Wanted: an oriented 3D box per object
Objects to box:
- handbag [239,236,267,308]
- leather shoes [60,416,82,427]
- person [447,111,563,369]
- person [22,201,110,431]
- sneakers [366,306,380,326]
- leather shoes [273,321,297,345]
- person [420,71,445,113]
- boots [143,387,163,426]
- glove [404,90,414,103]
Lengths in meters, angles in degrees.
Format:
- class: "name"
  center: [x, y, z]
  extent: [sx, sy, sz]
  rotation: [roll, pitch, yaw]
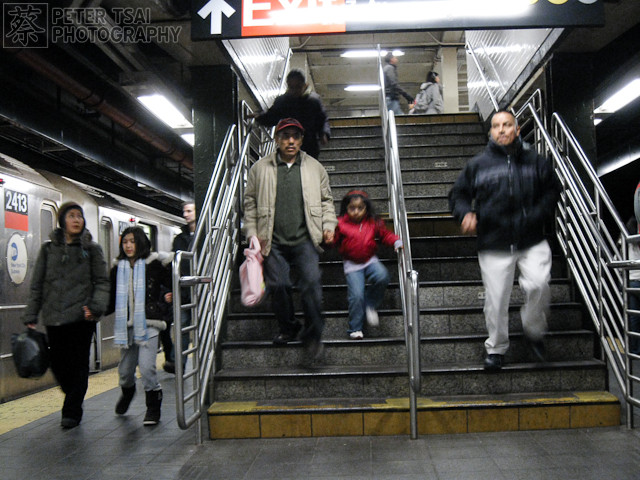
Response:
- class: "handbag"
  center: [-0.644, 0.292, 5.259]
  extent: [0.211, 0.649, 0.176]
  rotation: [-4, -8, 24]
- class: "leather shoes"
  center: [-2.460, 1.804, 5.500]
  extent: [0.175, 0.105, 0.142]
  rotation: [3, -7, -30]
- class: "person"
  center: [1.702, -0.001, 5.084]
  extent: [0.949, 2.350, 0.364]
  rotation: [-2, -7, 5]
- class: "person"
  center: [-2.558, 0.733, 5.635]
  extent: [0.778, 2.267, 0.301]
  rotation: [2, -7, -21]
- class: "sneakers"
  center: [0.509, 0.756, 5.554]
  extent: [0.111, 0.202, 0.073]
  rotation: [-11, -4, 10]
- class: "leather shoes"
  center: [-0.374, 0.906, 5.426]
  extent: [0.323, 0.227, 0.123]
  rotation: [-7, 5, -22]
- class: "person"
  center: [2.255, -3.011, 11.340]
  extent: [0.392, 1.078, 0.705]
  rotation: [-2, -7, 9]
- class: "boots"
  center: [-1.687, 1.670, 5.590]
  extent: [0.170, 0.340, 0.256]
  rotation: [1, -7, -18]
- class: "glove"
  center: [1.768, -2.906, 11.196]
  extent: [0.158, 0.135, 0.555]
  rotation: [9, 10, 8]
